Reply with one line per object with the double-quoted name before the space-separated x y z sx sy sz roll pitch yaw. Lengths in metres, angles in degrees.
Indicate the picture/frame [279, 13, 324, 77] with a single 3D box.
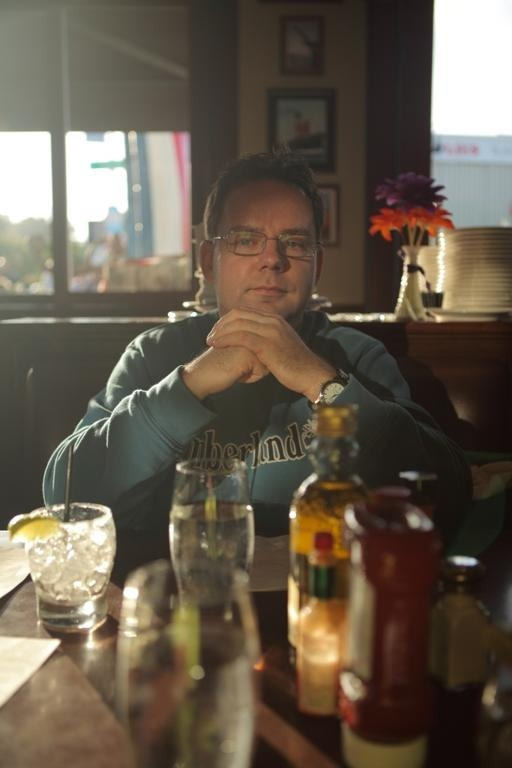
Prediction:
"picture/frame" 0.206 -1.626 3.406 0.320 0.329 0.024 0 9 -2
